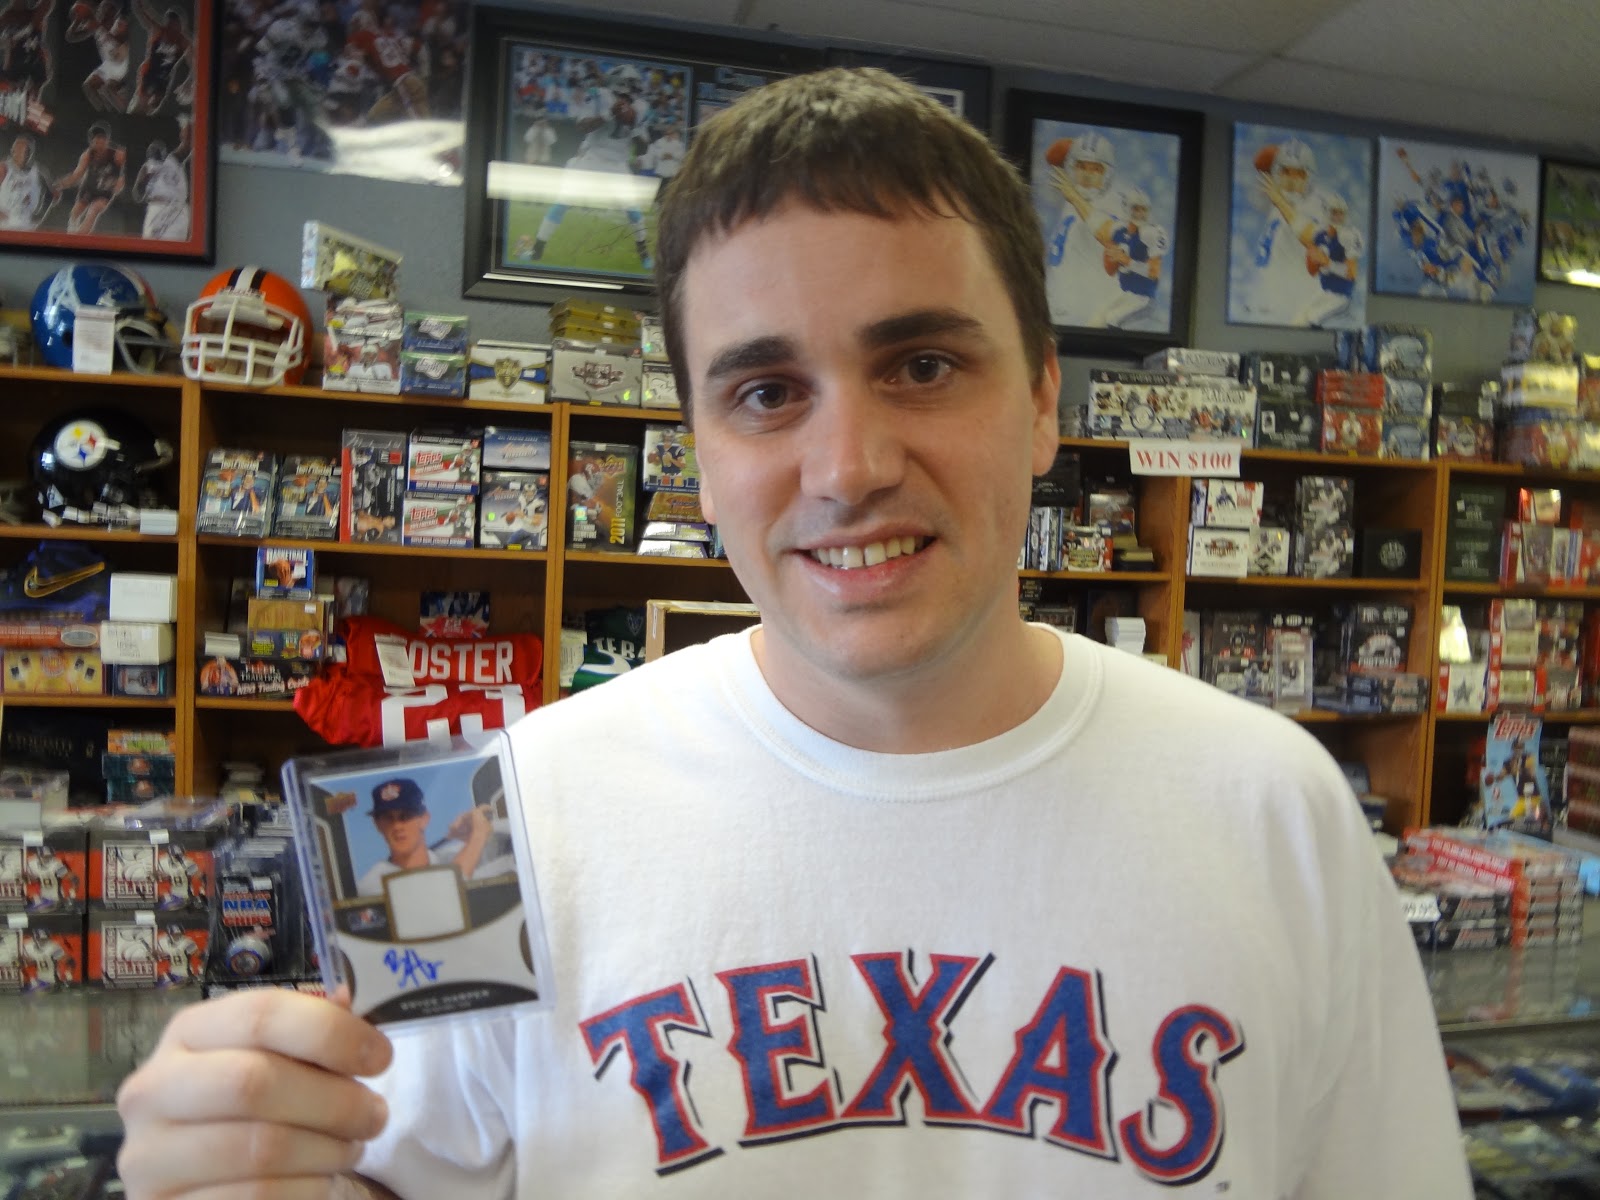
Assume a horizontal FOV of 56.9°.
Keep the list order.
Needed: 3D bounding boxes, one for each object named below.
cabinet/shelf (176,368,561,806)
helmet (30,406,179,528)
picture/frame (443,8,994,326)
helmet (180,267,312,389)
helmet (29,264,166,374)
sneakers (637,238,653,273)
[{"bbox_3d":[-1.259,-0.075,4.229,1.193,1.530,0.425,1,2,-10],"label":"cabinet/shelf"},{"bbox_3d":[-2.122,-0.401,4.565,0.299,0.339,0.389,3,-1,-8],"label":"helmet"},{"bbox_3d":[-0.335,-1.085,3.650,1.395,0.888,0.054,1,5,-10],"label":"picture/frame"},{"bbox_3d":[-1.622,-0.828,4.449,0.293,0.343,0.417,2,2,-5],"label":"helmet"},{"bbox_3d":[-2.093,-0.878,4.448,0.390,0.326,0.312,2,17,-33],"label":"helmet"},{"bbox_3d":[-0.509,-1.163,4.965,0.052,0.112,0.114,4,35,3],"label":"sneakers"}]
